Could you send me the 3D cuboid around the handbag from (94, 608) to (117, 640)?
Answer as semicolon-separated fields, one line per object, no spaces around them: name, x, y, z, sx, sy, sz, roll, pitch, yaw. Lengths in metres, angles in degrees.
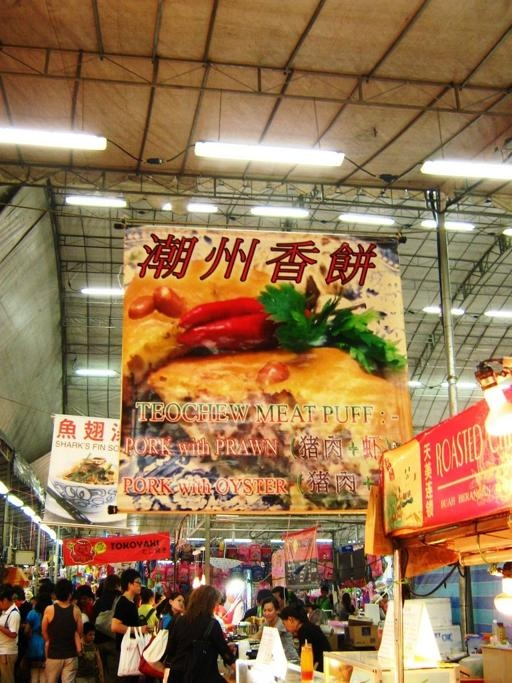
handbag;-1.399;2.630;5.352;0.169;0.265;0.377;2;-19;-13
